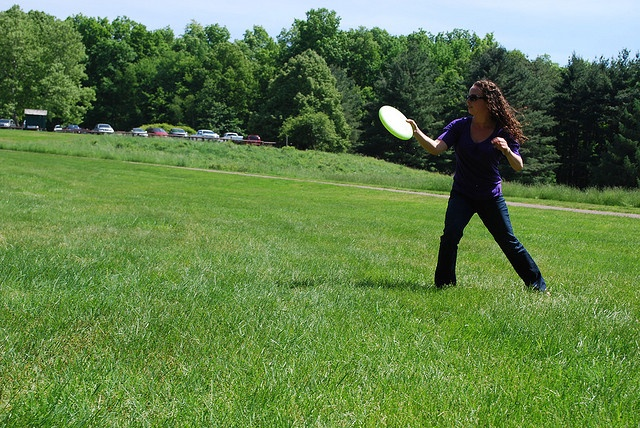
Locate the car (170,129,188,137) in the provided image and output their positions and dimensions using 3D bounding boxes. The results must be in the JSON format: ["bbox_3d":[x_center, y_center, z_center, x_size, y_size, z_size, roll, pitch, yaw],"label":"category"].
[{"bbox_3d":[-15.829,-9.023,63.264,1.278,1.125,2.075,1,-2,-26],"label":"car"}]

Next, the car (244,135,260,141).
[{"bbox_3d":[-7.672,-8.553,63.891,1.564,0.825,0.991,4,5,6],"label":"car"}]

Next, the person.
[{"bbox_3d":[1.958,-0.370,6.951,1.523,2.532,0.788,4,6,8],"label":"person"}]

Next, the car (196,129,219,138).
[{"bbox_3d":[-12.522,-8.787,62.846,1.613,1.113,2.330,-6,6,-39],"label":"car"}]

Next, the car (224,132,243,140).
[{"bbox_3d":[-9.899,-8.676,63.786,1.429,0.943,2.610,-2,12,-24],"label":"car"}]
